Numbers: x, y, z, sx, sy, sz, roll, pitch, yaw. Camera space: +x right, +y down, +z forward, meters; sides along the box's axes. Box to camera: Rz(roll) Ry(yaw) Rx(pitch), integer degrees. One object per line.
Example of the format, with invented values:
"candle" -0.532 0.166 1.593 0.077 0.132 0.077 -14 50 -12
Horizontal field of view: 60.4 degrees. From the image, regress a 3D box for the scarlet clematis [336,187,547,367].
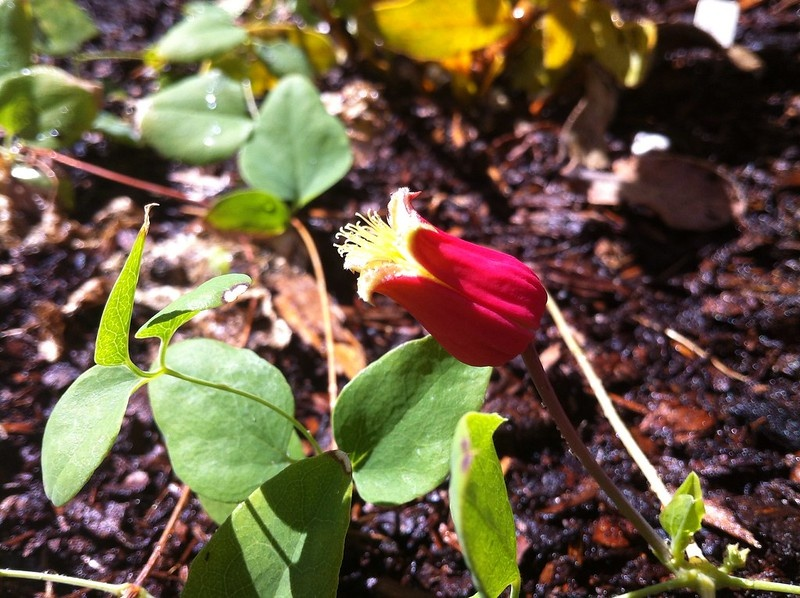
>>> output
"scarlet clematis" 0.052 -0.013 1.064 0.326 0.153 0.200 28 50 10
